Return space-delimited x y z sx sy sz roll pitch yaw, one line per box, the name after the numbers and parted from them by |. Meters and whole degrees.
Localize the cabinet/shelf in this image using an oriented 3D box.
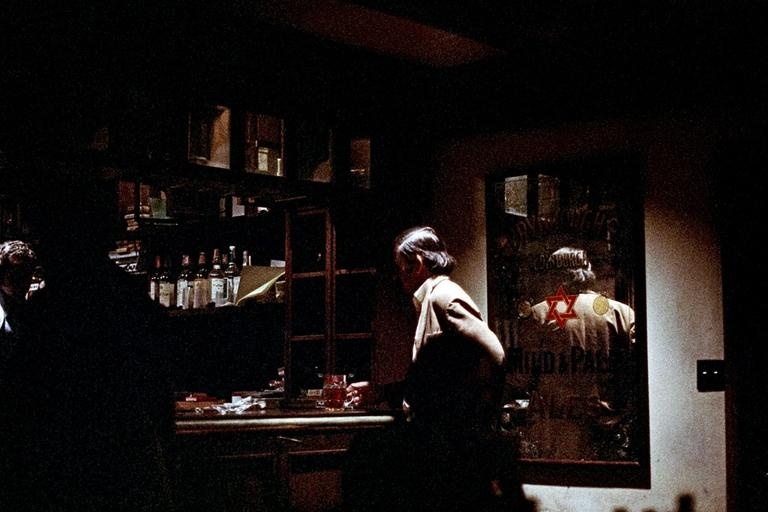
-0.312 0.374 5.747 0.712 1.407 0.477 -3 -4 22 | cabinet/shelf

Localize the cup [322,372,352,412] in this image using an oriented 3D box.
-0.315 0.862 5.082 0.131 0.207 0.077 1 -6 -12 | cup
